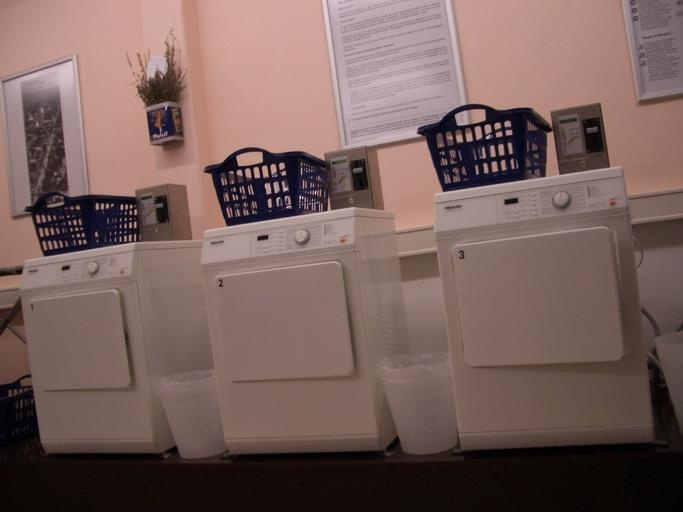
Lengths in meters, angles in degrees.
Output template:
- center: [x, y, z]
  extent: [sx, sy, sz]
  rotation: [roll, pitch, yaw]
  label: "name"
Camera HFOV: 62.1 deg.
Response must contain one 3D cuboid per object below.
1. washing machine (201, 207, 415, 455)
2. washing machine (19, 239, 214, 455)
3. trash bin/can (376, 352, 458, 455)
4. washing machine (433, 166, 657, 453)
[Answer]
- center: [-0.186, 0.372, 2.991]
  extent: [0.977, 1.137, 0.965]
  rotation: [-7, -3, 33]
  label: "washing machine"
- center: [-1.186, 0.517, 3.374]
  extent: [0.986, 1.101, 0.875]
  rotation: [-8, -2, 34]
  label: "washing machine"
- center: [0.411, 0.670, 2.708]
  extent: [0.399, 0.465, 0.397]
  rotation: [2, -4, -32]
  label: "trash bin/can"
- center: [0.972, 0.196, 2.751]
  extent: [1.001, 1.211, 1.041]
  rotation: [-14, 7, -39]
  label: "washing machine"
